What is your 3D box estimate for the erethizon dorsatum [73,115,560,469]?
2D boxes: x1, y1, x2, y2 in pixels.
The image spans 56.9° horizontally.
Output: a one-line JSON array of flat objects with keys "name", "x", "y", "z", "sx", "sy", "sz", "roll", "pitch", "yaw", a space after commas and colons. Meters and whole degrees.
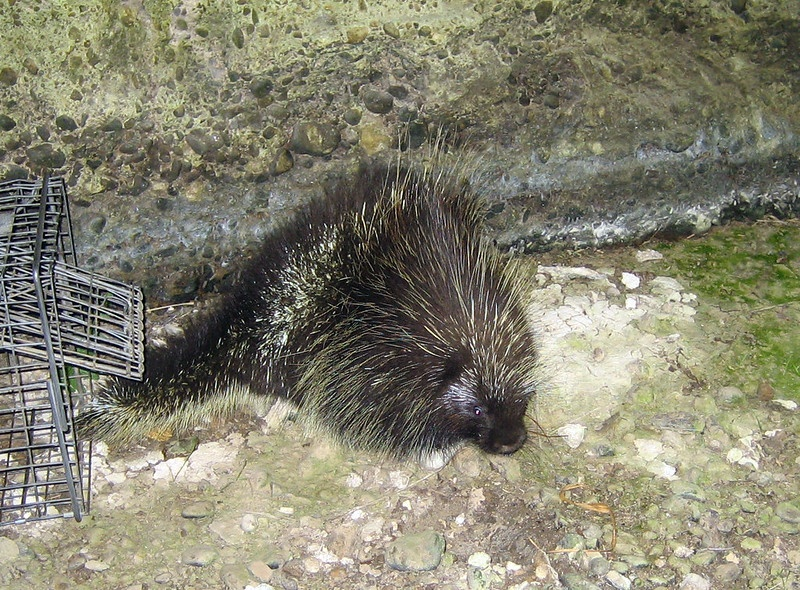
[{"name": "erethizon dorsatum", "x": -0.274, "y": 0.123, "z": 2.965, "sx": 1.811, "sy": 0.911, "sz": 0.870, "roll": 1, "pitch": 45, "yaw": -2}]
